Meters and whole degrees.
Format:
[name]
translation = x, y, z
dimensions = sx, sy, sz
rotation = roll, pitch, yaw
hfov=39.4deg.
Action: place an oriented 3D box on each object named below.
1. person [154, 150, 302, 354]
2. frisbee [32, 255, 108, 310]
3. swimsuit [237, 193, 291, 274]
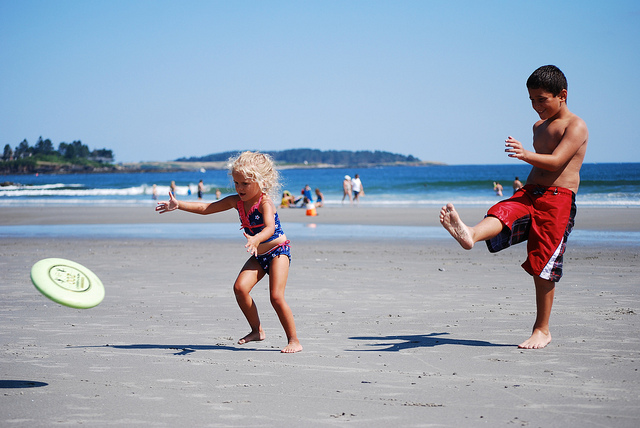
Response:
[person]
translation = -0.814, 0.374, 9.526
dimensions = 1.061, 2.071, 1.079
rotation = -4, 6, -6
[frisbee]
translation = -2.506, 0.671, 8.766
dimensions = 0.648, 0.451, 0.526
rotation = -4, 6, -13
[swimsuit]
translation = -0.607, 0.207, 9.420
dimensions = 0.526, 0.863, 0.400
rotation = -3, 6, -4
